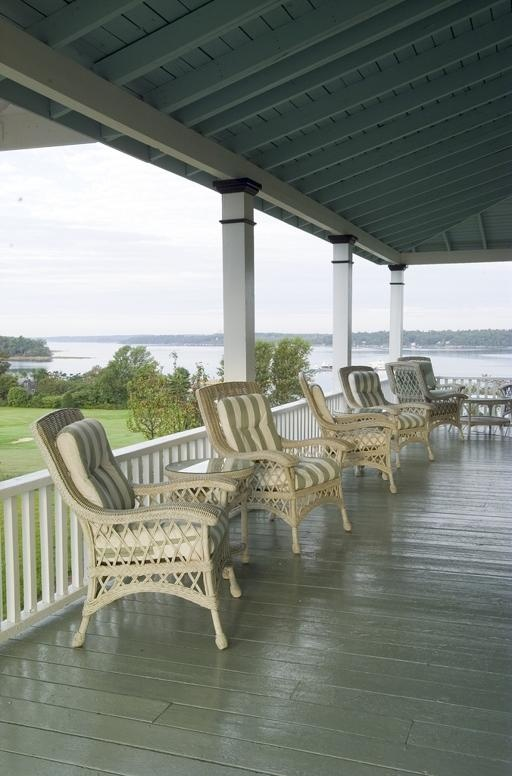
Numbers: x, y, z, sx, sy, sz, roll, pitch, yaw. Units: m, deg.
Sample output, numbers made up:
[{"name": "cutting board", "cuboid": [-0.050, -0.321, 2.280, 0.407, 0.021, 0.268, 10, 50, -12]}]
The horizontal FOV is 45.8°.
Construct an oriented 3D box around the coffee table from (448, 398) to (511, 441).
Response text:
[{"name": "coffee table", "cuboid": [3.068, 0.441, 8.295, 0.713, 0.509, 0.719, -1, 5, 13]}]
